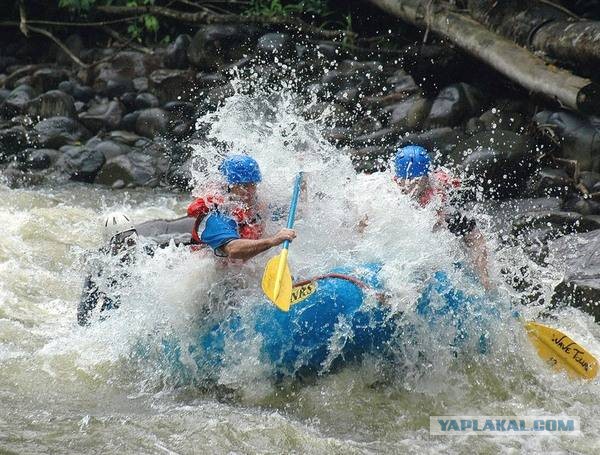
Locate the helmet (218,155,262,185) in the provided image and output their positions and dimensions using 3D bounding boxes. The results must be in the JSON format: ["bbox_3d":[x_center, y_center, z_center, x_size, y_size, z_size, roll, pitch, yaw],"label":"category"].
[{"bbox_3d":[-0.663,-0.648,10.422,0.361,0.207,0.290,5,23,1],"label":"helmet"}]

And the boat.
[{"bbox_3d":[-0.219,0.893,10.406,3.506,2.040,0.705,-3,101,11],"label":"boat"}]

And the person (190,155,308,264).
[{"bbox_3d":[-0.589,-0.109,10.495,1.063,1.128,1.753,4,106,1],"label":"person"}]

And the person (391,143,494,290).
[{"bbox_3d":[1.587,-0.174,10.619,0.492,1.532,1.058,-25,20,30],"label":"person"}]

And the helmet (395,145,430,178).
[{"bbox_3d":[1.233,-0.729,10.598,0.280,0.409,0.325,-1,47,10],"label":"helmet"}]

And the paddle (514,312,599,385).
[{"bbox_3d":[2.739,1.300,10.327,0.986,0.140,0.333,37,99,45],"label":"paddle"}]
